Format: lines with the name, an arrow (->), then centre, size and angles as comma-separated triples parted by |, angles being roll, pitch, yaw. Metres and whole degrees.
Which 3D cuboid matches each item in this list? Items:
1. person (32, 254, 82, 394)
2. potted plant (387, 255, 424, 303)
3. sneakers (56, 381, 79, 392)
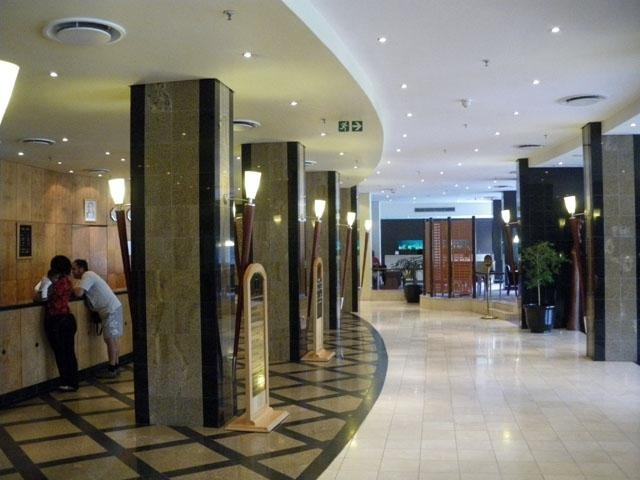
person -> -3.998, 1.278, 7.861 | 0.531, 2.195, 0.495 | -1, 0, -35
potted plant -> 2.938, 1.475, 19.245 | 1.477, 1.902, 1.702 | 1, 3, 16
sneakers -> -3.787, 2.231, 7.772 | 0.310, 0.136, 0.117 | 9, 3, -5
